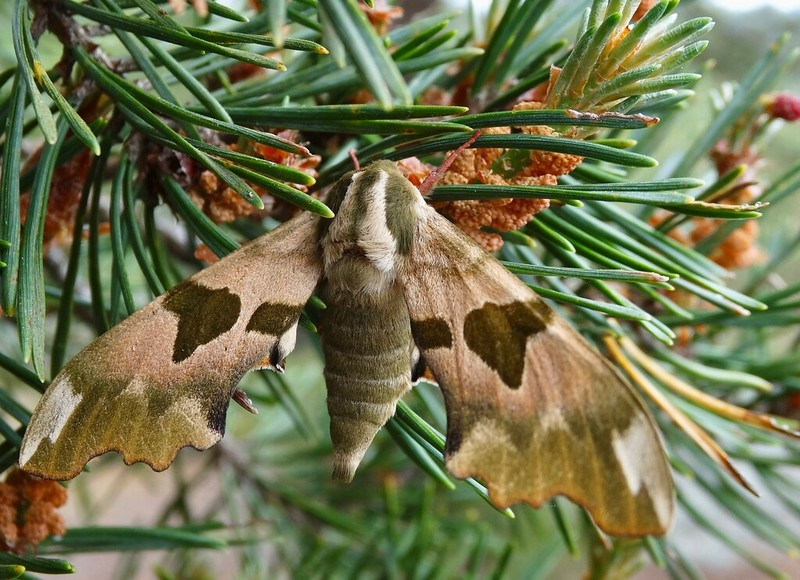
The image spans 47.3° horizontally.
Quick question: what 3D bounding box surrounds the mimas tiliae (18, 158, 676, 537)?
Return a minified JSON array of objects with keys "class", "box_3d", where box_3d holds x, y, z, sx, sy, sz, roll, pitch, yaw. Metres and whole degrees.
[{"class":"mimas tiliae","box_3d":[-0.057,0.053,1.163,0.793,0.399,0.206,4,15,5]}]
